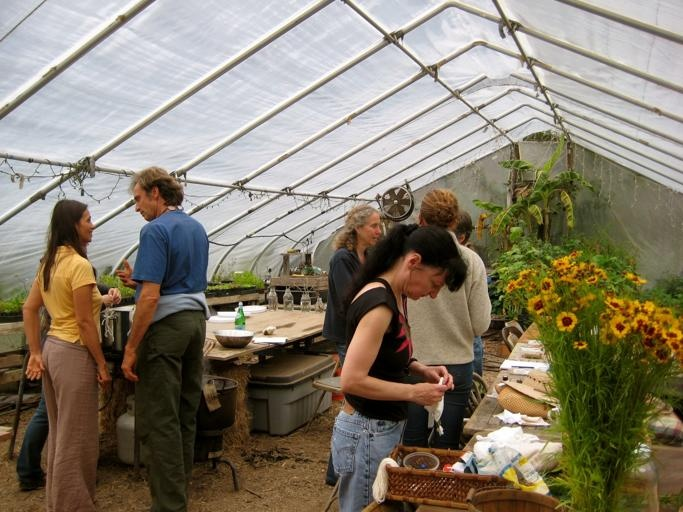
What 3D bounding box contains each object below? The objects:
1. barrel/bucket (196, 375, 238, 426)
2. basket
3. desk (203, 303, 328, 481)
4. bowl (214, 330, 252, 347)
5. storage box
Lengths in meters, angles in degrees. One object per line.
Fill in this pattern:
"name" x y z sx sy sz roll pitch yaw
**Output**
"barrel/bucket" -1.009 1.274 4.156 0.383 0.287 0.426 0 -10 0
"basket" 0.341 0.845 1.830 0.338 0.104 0.218 0 2 16
"desk" -0.727 1.481 5.646 1.024 0.808 1.711 -8 1 24
"bowl" -0.985 0.803 4.660 0.374 0.152 0.345 3 -4 0
"storage box" -0.653 1.589 5.729 0.900 0.582 1.256 -3 -2 22
